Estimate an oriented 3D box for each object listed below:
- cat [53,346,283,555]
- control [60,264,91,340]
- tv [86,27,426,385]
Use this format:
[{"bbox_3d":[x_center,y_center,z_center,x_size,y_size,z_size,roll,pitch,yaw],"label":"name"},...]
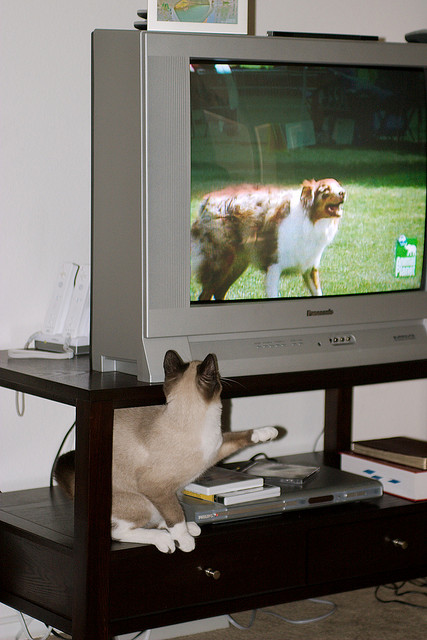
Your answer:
[{"bbox_3d":[-0.076,0.223,1.039,0.204,0.345,0.118,-1,-5,-14],"label":"cat"},{"bbox_3d":[-0.309,-0.037,1.360,0.042,0.172,0.017,8,-7,6],"label":"control"},{"bbox_3d":[0.069,-0.222,1.157,0.673,0.659,0.237,-4,9,-32],"label":"tv"}]
